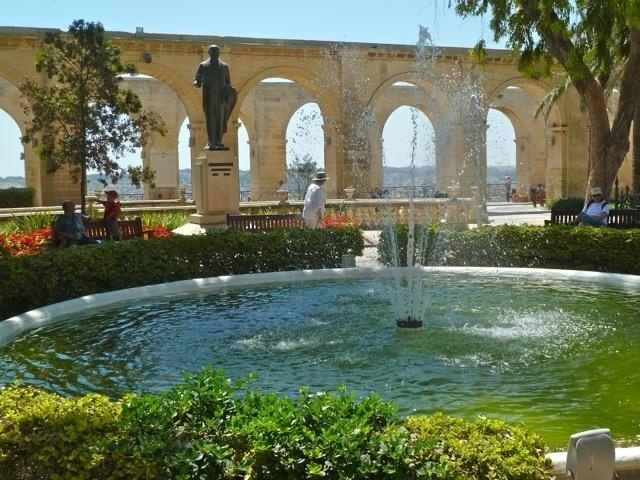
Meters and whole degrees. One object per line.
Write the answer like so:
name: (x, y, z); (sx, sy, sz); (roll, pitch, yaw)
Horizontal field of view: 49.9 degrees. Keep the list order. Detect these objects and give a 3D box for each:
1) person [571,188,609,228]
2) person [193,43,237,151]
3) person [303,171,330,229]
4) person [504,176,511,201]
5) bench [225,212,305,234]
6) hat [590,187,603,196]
person: (4.736, -0.563, 12.066); (0.537, 0.652, 0.927); (5, 11, 26)
person: (-2.007, -2.750, 13.303); (0.772, 1.960, 0.443); (-2, 9, -10)
person: (-0.102, -0.716, 12.326); (0.383, 1.018, 0.869); (-1, 10, -2)
person: (9.866, -2.607, 36.176); (0.342, 1.254, 1.317); (2, 10, 16)
bench: (-1.008, -0.335, 12.964); (1.463, 0.289, 0.669); (-7, 13, -34)
hat: (4.905, -0.857, 12.277); (0.232, 0.145, 0.249); (0, 2, 13)
